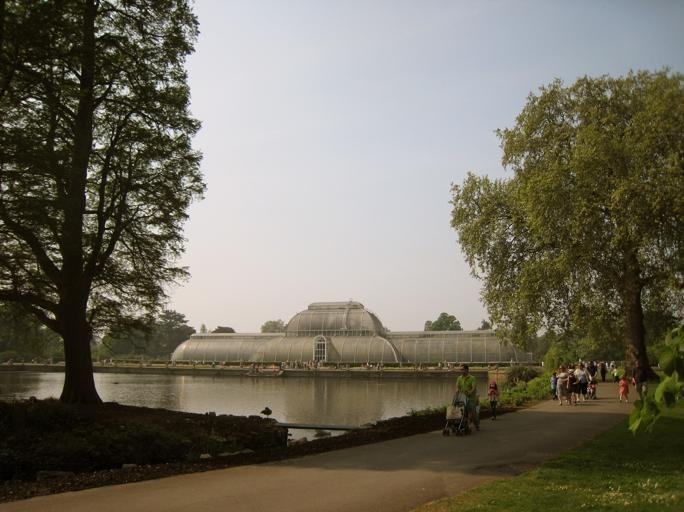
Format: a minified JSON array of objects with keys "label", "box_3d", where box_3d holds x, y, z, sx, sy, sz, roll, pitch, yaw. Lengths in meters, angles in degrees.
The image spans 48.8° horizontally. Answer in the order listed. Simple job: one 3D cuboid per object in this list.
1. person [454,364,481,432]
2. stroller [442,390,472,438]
[{"label":"person","box_3d":[4.732,5.458,29.115,0.966,2.597,0.973,1,-1,-16]},{"label":"stroller","box_3d":[4.355,6.104,28.808,1.044,2.049,1.450,-9,-27,27]}]
